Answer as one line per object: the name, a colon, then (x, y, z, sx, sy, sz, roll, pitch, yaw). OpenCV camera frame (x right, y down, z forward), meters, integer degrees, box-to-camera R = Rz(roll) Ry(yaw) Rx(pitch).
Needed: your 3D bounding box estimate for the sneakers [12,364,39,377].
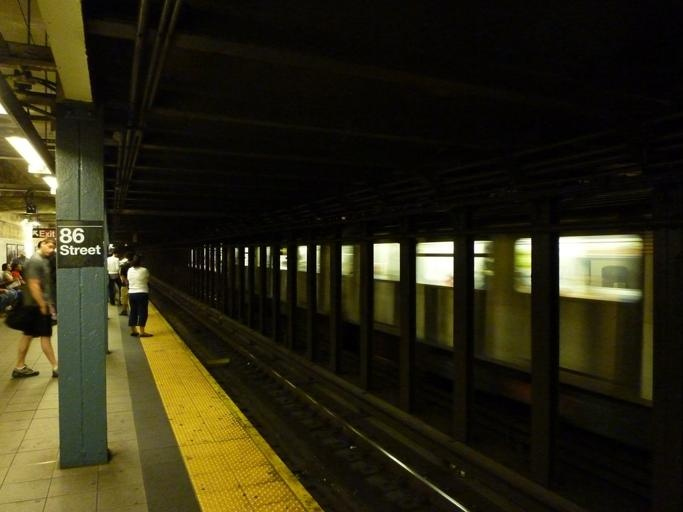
sneakers: (-5.046, 1.846, 8.879, 0.419, 0.180, 0.167, 1, 1, -32)
